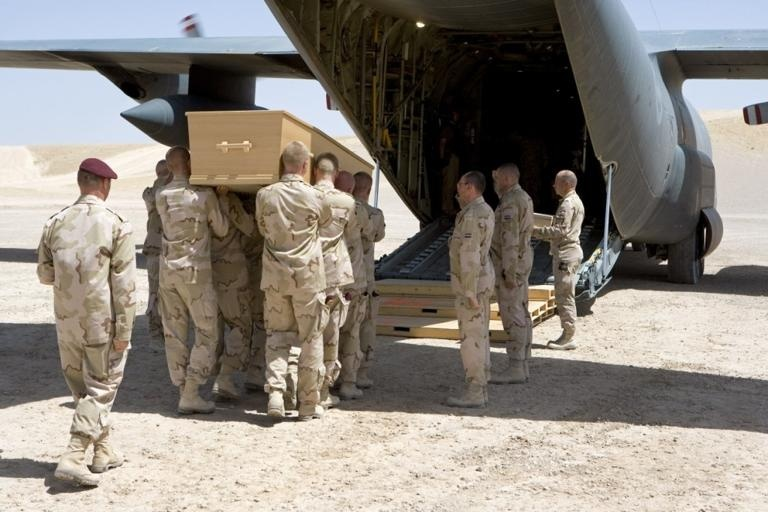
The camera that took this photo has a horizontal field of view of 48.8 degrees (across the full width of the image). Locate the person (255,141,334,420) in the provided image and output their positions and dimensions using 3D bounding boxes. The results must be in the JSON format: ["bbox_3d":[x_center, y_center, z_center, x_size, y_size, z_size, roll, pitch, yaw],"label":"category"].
[{"bbox_3d":[-0.878,0.260,8.589,0.740,2.841,0.450,-2,7,-8],"label":"person"}]

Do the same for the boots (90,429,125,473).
[{"bbox_3d":[-2.519,1.766,7.800,0.202,0.418,0.443,-1,-4,12],"label":"boots"}]

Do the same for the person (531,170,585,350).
[{"bbox_3d":[2.333,0.043,11.048,0.695,2.296,0.487,-7,10,-42],"label":"person"}]

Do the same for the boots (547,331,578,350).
[{"bbox_3d":[2.320,1.107,11.019,0.395,0.261,0.183,3,2,12],"label":"boots"}]

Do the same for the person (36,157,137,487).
[{"bbox_3d":[-2.603,0.572,7.614,0.844,2.886,0.688,-4,8,-22],"label":"person"}]

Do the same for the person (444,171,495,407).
[{"bbox_3d":[0.914,0.357,8.964,0.472,2.484,0.451,0,7,10],"label":"person"}]

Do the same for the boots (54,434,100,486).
[{"bbox_3d":[-2.636,1.828,7.549,0.186,0.405,0.427,4,-25,32],"label":"boots"}]
